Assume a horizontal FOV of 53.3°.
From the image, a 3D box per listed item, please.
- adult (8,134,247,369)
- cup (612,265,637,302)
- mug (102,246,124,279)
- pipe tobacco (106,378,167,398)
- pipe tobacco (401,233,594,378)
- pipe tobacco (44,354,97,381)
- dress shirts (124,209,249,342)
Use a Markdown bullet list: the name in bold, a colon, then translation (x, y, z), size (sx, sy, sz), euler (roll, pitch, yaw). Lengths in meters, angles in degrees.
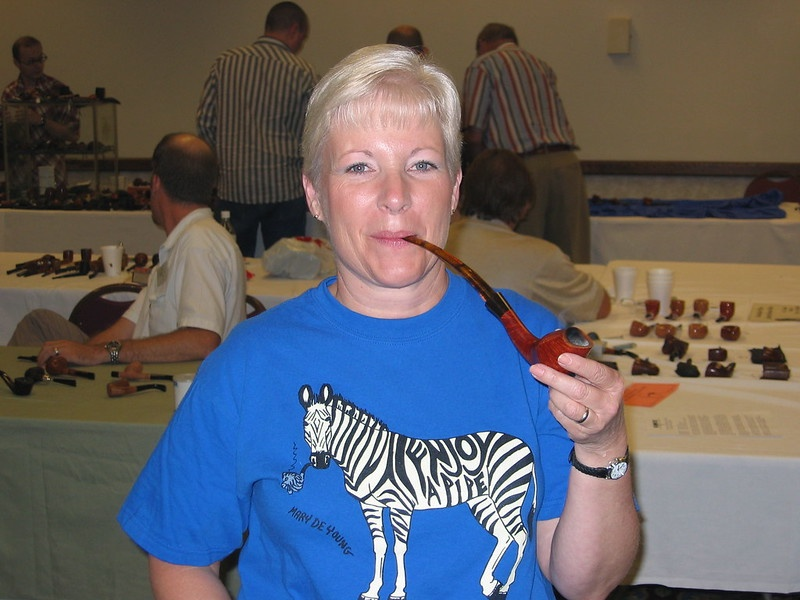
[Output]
- **adult**: translation (-1.083, 0.024, 3.293), size (0.901, 1.372, 0.673), euler (3, 1, -4)
- **cup**: translation (1.012, -0.077, 3.597), size (0.137, 0.164, 0.141), euler (0, -3, 0)
- **mug**: translation (-1.487, -0.197, 4.223), size (0.134, 0.160, 0.140), euler (6, 9, 28)
- **pipe tobacco**: translation (-0.847, 0.300, 2.586), size (0.145, 0.038, 0.077), euler (7, 9, -26)
- **pipe tobacco**: translation (0.268, 0.012, 2.120), size (0.628, 0.097, 0.172), euler (38, 18, 31)
- **pipe tobacco**: translation (-1.114, 0.232, 2.685), size (0.181, 0.068, 0.075), euler (15, 26, -28)
- **dress shirts**: translation (-0.829, -0.082, 3.385), size (0.456, 0.756, 0.848), euler (5, 0, -10)
